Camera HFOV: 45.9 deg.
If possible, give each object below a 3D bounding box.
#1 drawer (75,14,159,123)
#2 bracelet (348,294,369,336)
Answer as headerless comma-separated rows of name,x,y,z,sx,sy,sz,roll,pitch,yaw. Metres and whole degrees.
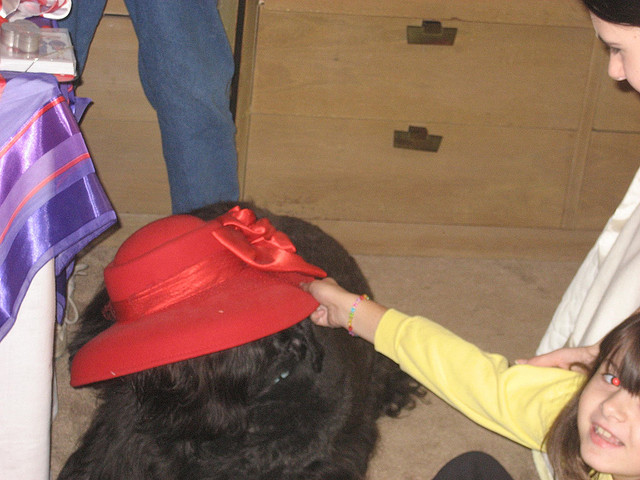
drawer,-0.630,-0.586,2.396,0.267,0.279,0.049,-20,55,-25
bracelet,0.080,0.169,1.685,0.021,0.075,0.077,12,30,18
